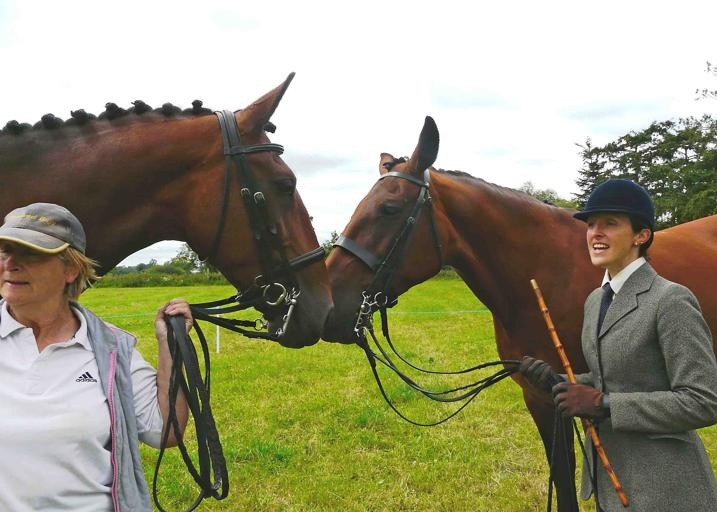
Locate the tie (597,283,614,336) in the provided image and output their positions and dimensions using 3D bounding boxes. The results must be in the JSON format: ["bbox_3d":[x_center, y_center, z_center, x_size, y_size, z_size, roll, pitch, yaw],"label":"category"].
[{"bbox_3d":[1.458,0.290,3.985,0.069,0.381,0.054,0,-21,21],"label":"tie"}]

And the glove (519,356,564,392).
[{"bbox_3d":[1.089,0.711,4.078,0.236,0.177,0.099,35,54,23],"label":"glove"}]

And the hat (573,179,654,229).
[{"bbox_3d":[1.504,-0.315,3.992,0.397,0.320,0.552,-3,-13,33],"label":"hat"}]
